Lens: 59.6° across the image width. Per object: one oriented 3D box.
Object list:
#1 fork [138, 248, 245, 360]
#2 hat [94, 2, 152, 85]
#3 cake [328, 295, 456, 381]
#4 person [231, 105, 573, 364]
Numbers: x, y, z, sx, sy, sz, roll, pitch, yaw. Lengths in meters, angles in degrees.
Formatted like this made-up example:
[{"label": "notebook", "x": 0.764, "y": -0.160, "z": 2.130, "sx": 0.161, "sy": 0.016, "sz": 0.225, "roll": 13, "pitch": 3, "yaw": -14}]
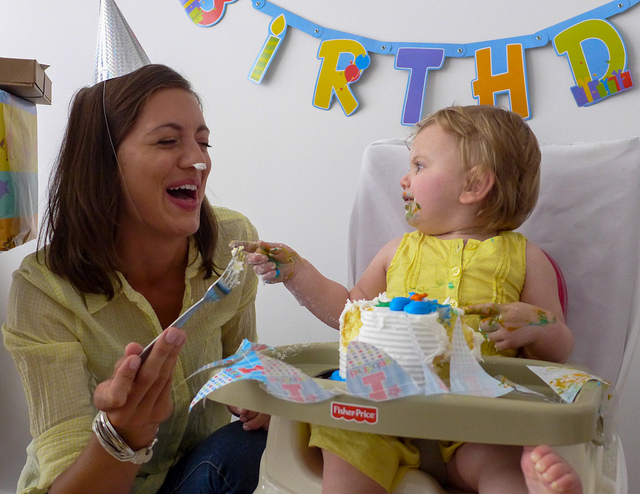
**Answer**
[{"label": "fork", "x": -0.290, "y": 0.113, "z": 1.223, "sx": 0.048, "sy": 0.050, "sz": 0.358, "roll": -9, "pitch": 33, "yaw": 39}, {"label": "hat", "x": -0.452, "y": -0.464, "z": 1.264, "sx": 0.122, "sy": 0.193, "sz": 0.136, "roll": -3, "pitch": 7, "yaw": -18}, {"label": "cake", "x": 0.151, "y": 0.178, "z": 1.016, "sx": 0.172, "sy": 0.200, "sz": 0.197, "roll": 4, "pitch": -1, "yaw": -42}, {"label": "person", "x": 0.239, "y": 0.032, "z": 1.384, "sx": 0.742, "sy": 0.785, "sz": 0.437, "roll": -3, "pitch": -20, "yaw": 30}]
